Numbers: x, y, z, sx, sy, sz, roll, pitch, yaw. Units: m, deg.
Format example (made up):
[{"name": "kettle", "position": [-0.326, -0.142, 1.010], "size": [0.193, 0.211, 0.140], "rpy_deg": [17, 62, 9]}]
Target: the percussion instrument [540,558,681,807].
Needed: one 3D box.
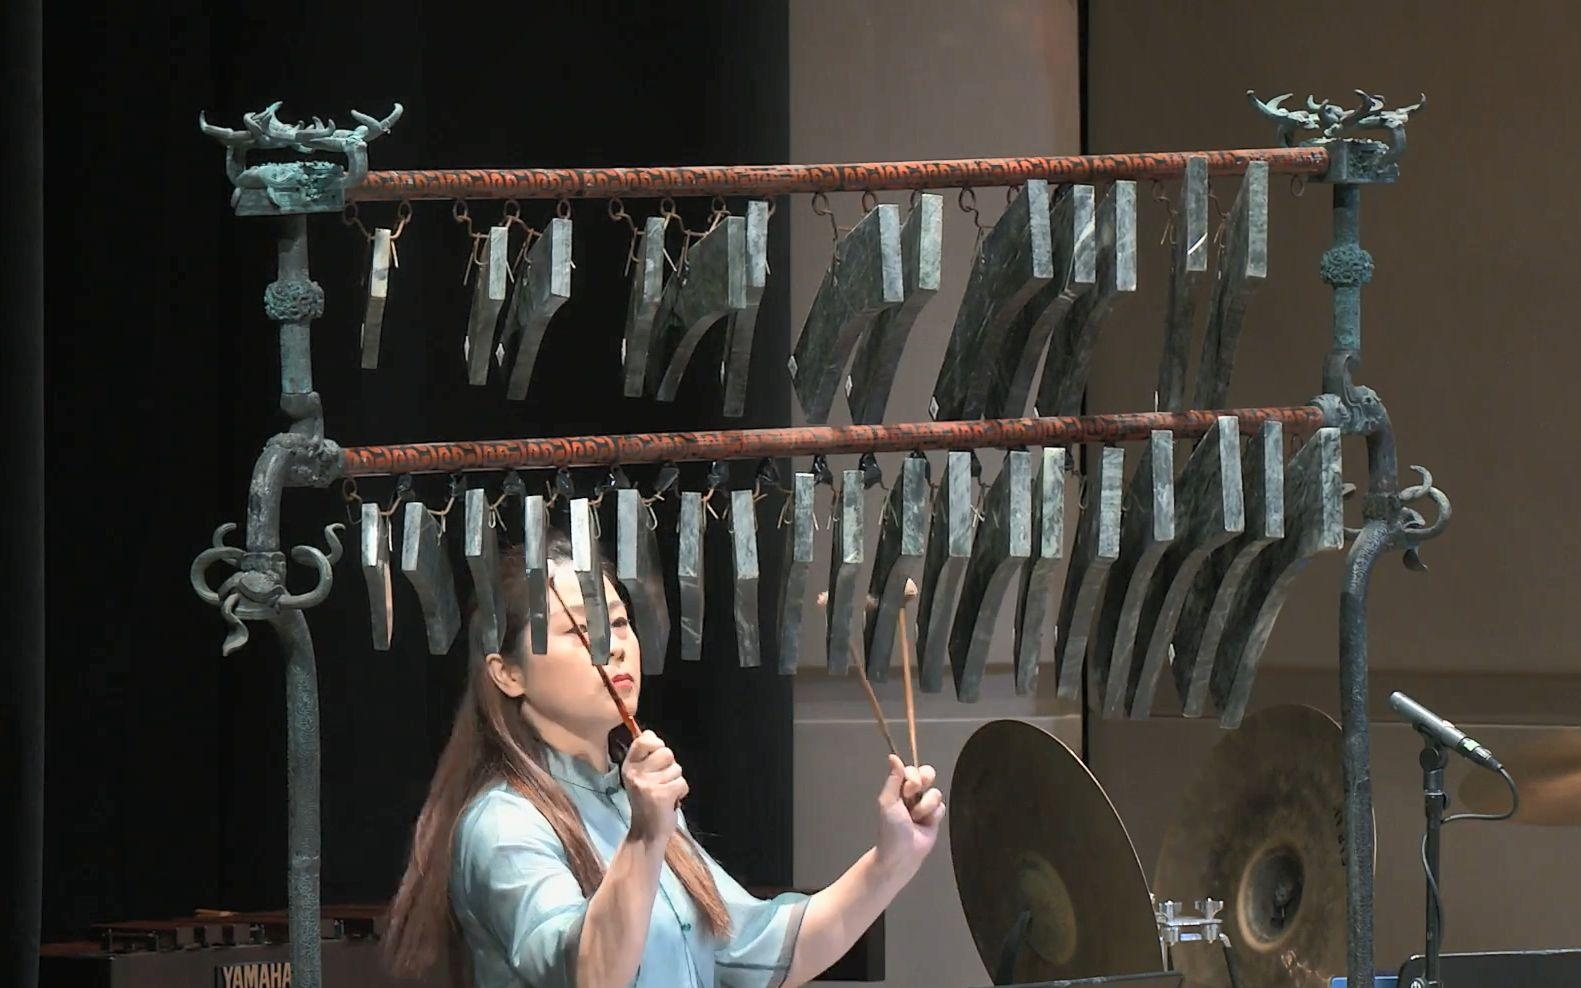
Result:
[{"name": "percussion instrument", "position": [-0.512, 0.523, 10.072], "size": [0.110, 0.762, 0.063], "rpy_deg": [-29, 3, 24]}]

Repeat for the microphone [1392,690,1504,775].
[{"name": "microphone", "position": [1.959, 0.709, 10.884], "size": [0.060, 0.096, 0.382], "rpy_deg": [-21, 49, -38]}]
